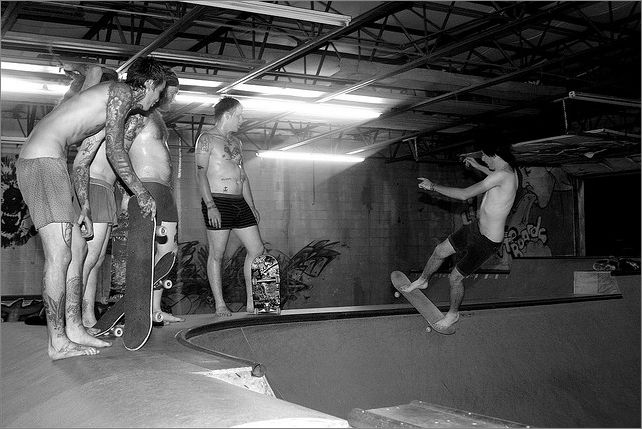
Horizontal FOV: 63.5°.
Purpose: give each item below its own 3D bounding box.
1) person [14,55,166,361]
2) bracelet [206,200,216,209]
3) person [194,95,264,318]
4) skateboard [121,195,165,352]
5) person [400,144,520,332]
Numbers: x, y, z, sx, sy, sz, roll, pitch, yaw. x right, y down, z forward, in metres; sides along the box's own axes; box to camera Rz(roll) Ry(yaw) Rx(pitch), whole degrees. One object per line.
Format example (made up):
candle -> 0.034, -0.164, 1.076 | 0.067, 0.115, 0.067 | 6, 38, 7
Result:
person -> -1.890, -0.121, 4.258 | 1.024, 2.434, 0.531 | -2, 2, -31
bracelet -> -1.172, -0.113, 5.537 | 0.087, 0.076, 0.084 | 2, -5, -22
person -> -1.021, -0.125, 5.843 | 0.709, 2.488, 0.545 | -1, 2, -9
skateboard -> -1.474, 0.468, 4.323 | 0.303, 1.204, 0.180 | 3, 2, 17
person -> 1.818, 0.272, 6.488 | 1.192, 2.254, 1.179 | 0, 2, 19
